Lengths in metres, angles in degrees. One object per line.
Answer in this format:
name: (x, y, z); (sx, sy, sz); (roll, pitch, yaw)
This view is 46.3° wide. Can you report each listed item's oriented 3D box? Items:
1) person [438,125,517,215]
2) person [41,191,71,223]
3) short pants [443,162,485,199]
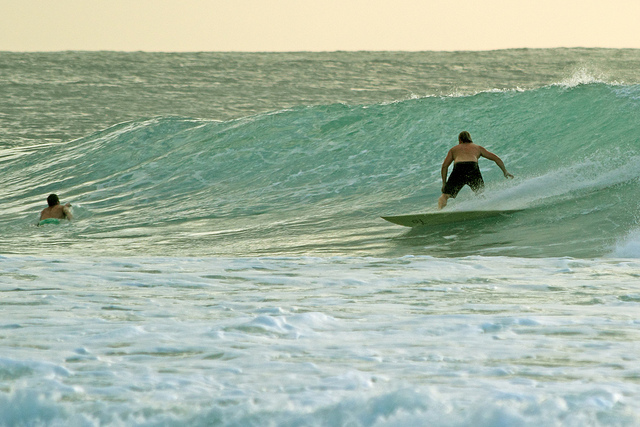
person: (2.168, -0.670, 11.450); (1.253, 1.074, 0.549); (-5, 1, -24)
person: (-4.762, -0.095, 13.424); (0.444, 0.541, 0.521); (-5, 1, 1)
short pants: (2.390, -0.501, 11.559); (0.361, 0.543, 0.699); (25, -22, 2)
